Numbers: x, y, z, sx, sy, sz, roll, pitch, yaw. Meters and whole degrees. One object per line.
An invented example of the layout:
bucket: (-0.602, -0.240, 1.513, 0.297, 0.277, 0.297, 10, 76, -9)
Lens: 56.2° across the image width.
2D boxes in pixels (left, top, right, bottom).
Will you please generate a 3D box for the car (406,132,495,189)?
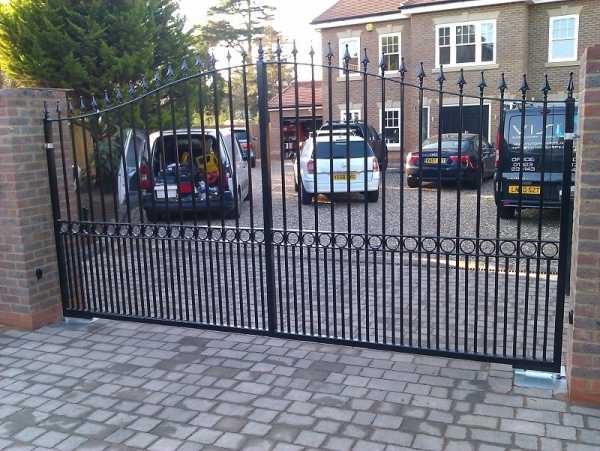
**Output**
car: (3.738, -1.548, 13.891, 1.700, 1.109, 3.667, 5, 17, 30)

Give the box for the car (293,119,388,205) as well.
car: (0.901, -1.317, 12.180, 1.616, 1.231, 2.675, -1, 18, 2)

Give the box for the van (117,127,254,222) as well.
van: (-2.176, -1.248, 11.297, 1.923, 1.283, 3.176, -3, 17, -10)
